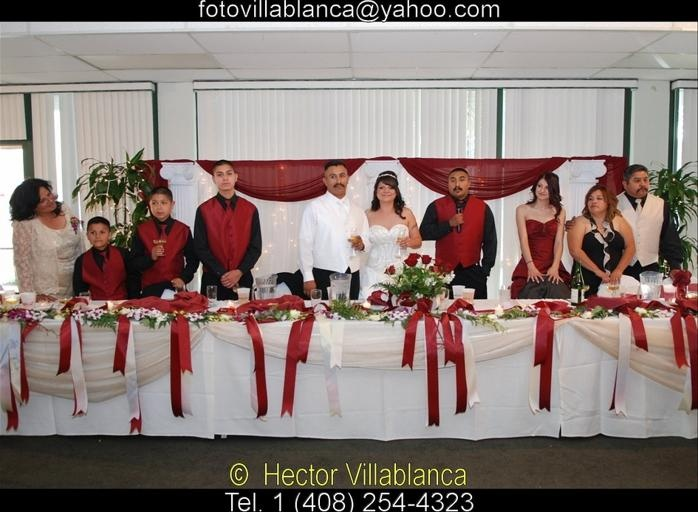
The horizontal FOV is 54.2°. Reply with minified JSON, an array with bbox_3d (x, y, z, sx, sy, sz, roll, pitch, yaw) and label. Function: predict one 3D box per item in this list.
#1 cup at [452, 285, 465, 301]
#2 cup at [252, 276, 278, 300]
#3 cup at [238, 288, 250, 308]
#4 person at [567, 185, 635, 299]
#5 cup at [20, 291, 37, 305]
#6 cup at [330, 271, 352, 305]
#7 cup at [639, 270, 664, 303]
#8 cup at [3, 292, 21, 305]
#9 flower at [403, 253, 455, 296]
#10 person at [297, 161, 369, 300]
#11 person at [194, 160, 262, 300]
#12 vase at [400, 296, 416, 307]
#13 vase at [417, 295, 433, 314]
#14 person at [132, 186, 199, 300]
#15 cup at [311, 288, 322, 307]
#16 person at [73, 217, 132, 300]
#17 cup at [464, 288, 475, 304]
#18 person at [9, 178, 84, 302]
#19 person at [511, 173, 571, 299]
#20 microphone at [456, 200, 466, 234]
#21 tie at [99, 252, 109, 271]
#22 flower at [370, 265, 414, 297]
[{"bbox_3d":[0.864,0.294,5.444,0.107,0.081,0.100,2,2,0],"label":"cup"},{"bbox_3d":[-0.694,0.265,5.512,0.219,0.205,0.170,4,-7,-26],"label":"cup"},{"bbox_3d":[-0.853,0.337,5.517,0.119,0.129,0.122,1,-8,0],"label":"cup"},{"bbox_3d":[2.313,-0.135,6.238,0.599,1.002,0.881,0,4,16],"label":"person"},{"bbox_3d":[-2.534,0.341,5.415,0.111,0.087,0.101,3,-5,0],"label":"cup"},{"bbox_3d":[-0.006,0.260,5.418,0.222,0.257,0.199,0,-9,3],"label":"cup"},{"bbox_3d":[2.394,0.253,5.534,0.222,0.251,0.225,3,-3,0],"label":"cup"},{"bbox_3d":[-2.727,0.349,5.540,0.129,0.095,0.130,1,-4,0],"label":"cup"},{"bbox_3d":[0.576,0.169,5.289,0.358,0.368,0.437,4,-15,10],"label":"flower"},{"bbox_3d":[-0.151,-0.237,6.653,0.667,1.359,0.598,-1,4,1],"label":"person"},{"bbox_3d":[-1.211,-0.254,6.780,0.647,1.362,0.576,-2,4,-6],"label":"person"},{"bbox_3d":[0.445,0.354,5.186,0.110,0.074,0.063,2,-3,-6],"label":"vase"},{"bbox_3d":[0.574,0.373,5.165,0.116,0.059,0.114,-1,14,2],"label":"vase"},{"bbox_3d":[-1.741,-0.129,6.479,0.618,1.019,0.526,-2,4,-14],"label":"person"},{"bbox_3d":[-0.258,0.334,5.404,0.118,0.182,0.116,1,-5,0],"label":"cup"},{"bbox_3d":[-2.261,0.034,6.189,0.438,0.748,0.188,-3,5,-23],"label":"person"},{"bbox_3d":[0.985,0.327,5.470,0.114,0.113,0.113,1,-7,0],"label":"cup"},{"bbox_3d":[-2.843,-0.155,6.446,0.610,1.113,0.411,-3,5,-23],"label":"person"},{"bbox_3d":[1.796,-0.183,6.461,0.510,1.195,0.638,0,4,14],"label":"person"},{"bbox_3d":[1.136,-0.402,6.964,0.102,0.341,0.301,0,4,10],"label":"microphone"},{"bbox_3d":[-2.211,0.058,6.177,0.094,0.156,0.041,1,-10,-5],"label":"tie"},{"bbox_3d":[0.335,0.165,5.249,0.267,0.166,0.274,-10,-5,-1],"label":"flower"}]
